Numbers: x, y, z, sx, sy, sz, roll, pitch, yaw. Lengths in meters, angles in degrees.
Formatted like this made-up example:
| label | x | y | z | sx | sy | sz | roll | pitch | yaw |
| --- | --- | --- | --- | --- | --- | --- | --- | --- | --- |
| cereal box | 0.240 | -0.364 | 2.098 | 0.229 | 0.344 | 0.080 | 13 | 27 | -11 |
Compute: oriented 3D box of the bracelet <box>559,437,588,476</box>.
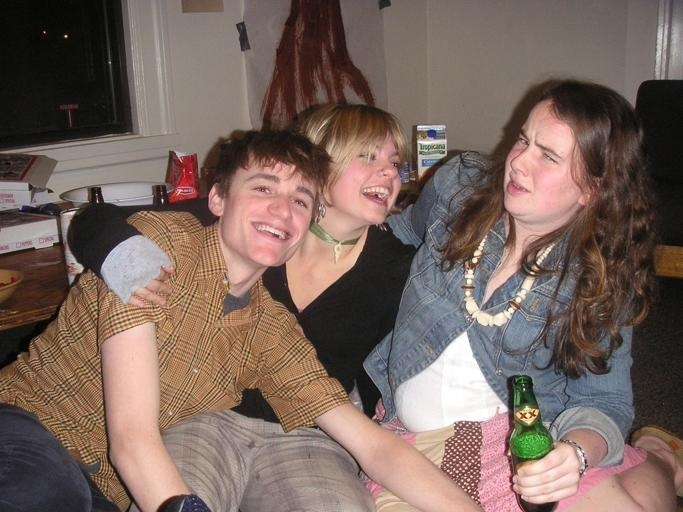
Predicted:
| label | x | y | z | sx | sy | sz | roll | pitch | yaw |
| --- | --- | --- | --- | --- | --- | --- | --- | --- | --- |
| bracelet | 0.582 | 0.493 | 1.338 | 0.070 | 0.082 | 0.072 | 9 | 18 | 29 |

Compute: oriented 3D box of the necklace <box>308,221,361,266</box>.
| label | x | y | z | sx | sy | sz | roll | pitch | yaw |
| --- | --- | --- | --- | --- | --- | --- | --- | --- | --- |
| necklace | 0.001 | -0.054 | 1.769 | 0.153 | 0.082 | 0.154 | 0 | -7 | -9 |

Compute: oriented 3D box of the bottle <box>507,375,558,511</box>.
| label | x | y | z | sx | sy | sz | roll | pitch | yaw |
| --- | --- | --- | --- | --- | --- | --- | --- | --- | --- |
| bottle | 0.474 | 0.432 | 1.329 | 0.106 | 0.298 | 0.117 | 0 | 15 | 0 |

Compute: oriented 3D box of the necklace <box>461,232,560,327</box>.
| label | x | y | z | sx | sy | sz | roll | pitch | yaw |
| --- | --- | --- | --- | --- | --- | --- | --- | --- | --- |
| necklace | 0.470 | 0.084 | 1.582 | 0.176 | 0.306 | 0.064 | 16 | -23 | 27 |
